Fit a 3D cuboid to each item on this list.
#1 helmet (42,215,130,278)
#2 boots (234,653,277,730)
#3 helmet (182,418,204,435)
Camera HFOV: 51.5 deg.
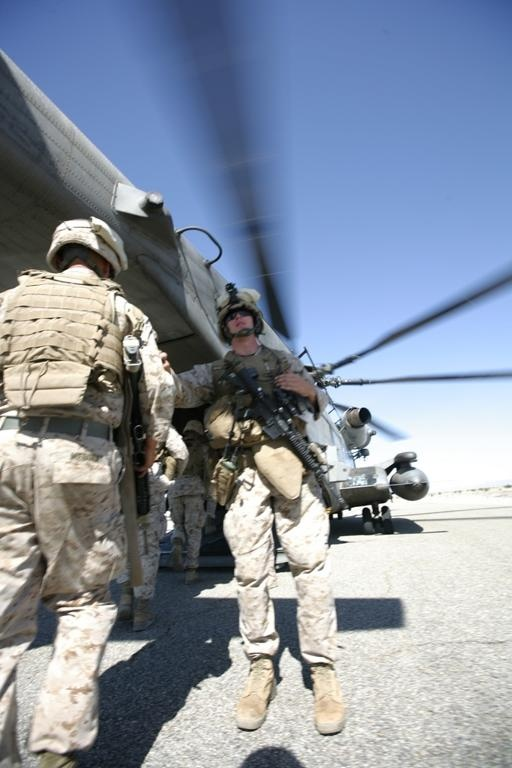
[{"bbox_3d":[-0.600,-0.523,1.989,0.215,0.191,0.263,-15,-30,29],"label":"helmet"},{"bbox_3d":[-0.009,1.047,1.817,0.087,0.149,0.256,-8,-10,13],"label":"boots"},{"bbox_3d":[-0.541,0.346,4.519,0.135,0.123,0.167,15,-1,-17],"label":"helmet"}]
